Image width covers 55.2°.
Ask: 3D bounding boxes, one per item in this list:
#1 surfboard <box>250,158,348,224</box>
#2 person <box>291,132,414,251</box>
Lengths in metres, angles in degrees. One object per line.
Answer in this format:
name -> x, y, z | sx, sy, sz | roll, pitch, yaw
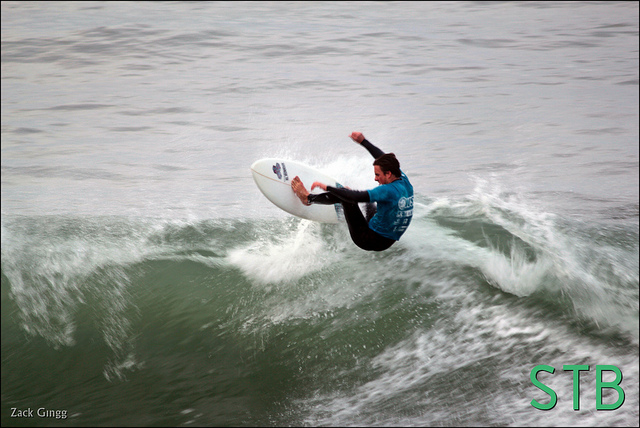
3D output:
surfboard -> -0.488, -0.534, 11.402 | 1.032, 0.525, 3.150 | -30, 17, -1
person -> 0.680, -0.157, 9.992 | 1.637, 1.683, 0.566 | 1, 26, -2
